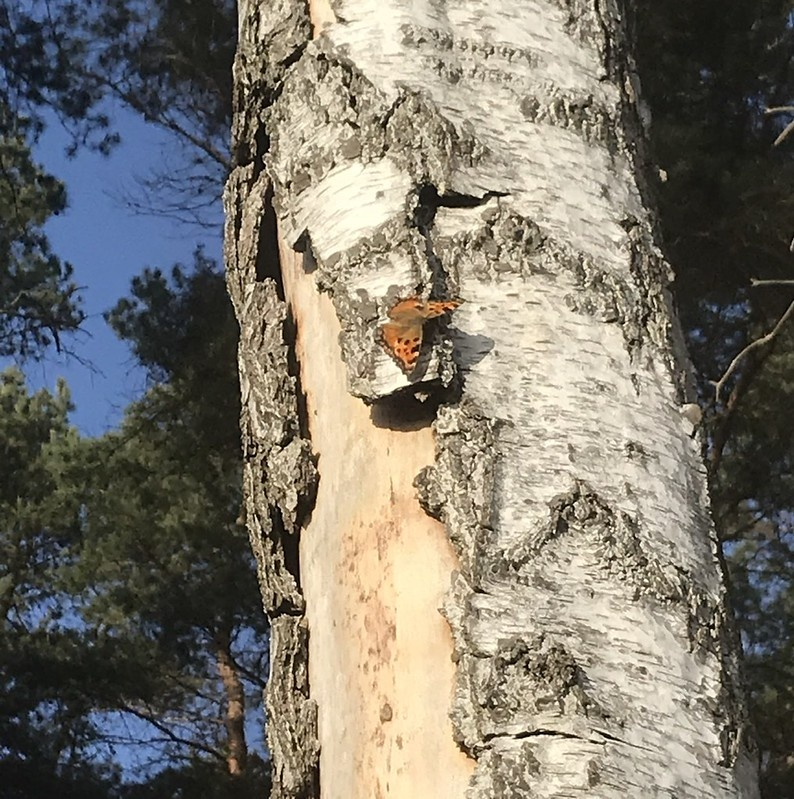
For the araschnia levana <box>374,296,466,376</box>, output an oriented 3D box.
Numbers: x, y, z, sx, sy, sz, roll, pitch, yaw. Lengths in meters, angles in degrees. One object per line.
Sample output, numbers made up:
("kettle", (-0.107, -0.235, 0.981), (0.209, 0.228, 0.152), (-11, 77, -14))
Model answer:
("araschnia levana", (0.082, -0.381, 14.403), (0.493, 0.327, 0.197), (-21, -32, 24))
